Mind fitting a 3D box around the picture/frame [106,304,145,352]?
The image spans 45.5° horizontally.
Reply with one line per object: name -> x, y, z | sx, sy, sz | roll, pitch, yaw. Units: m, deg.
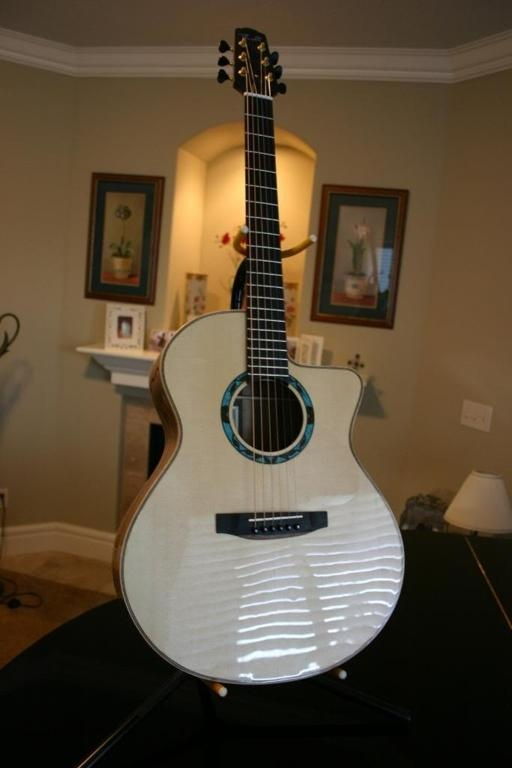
picture/frame -> -0.656, -0.277, 3.065 | 0.215, 0.280, 0.028 | 2, -2, 5

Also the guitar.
guitar -> 0.068, -0.145, 1.058 | 0.417, 1.133, 0.562 | 4, 5, 15
